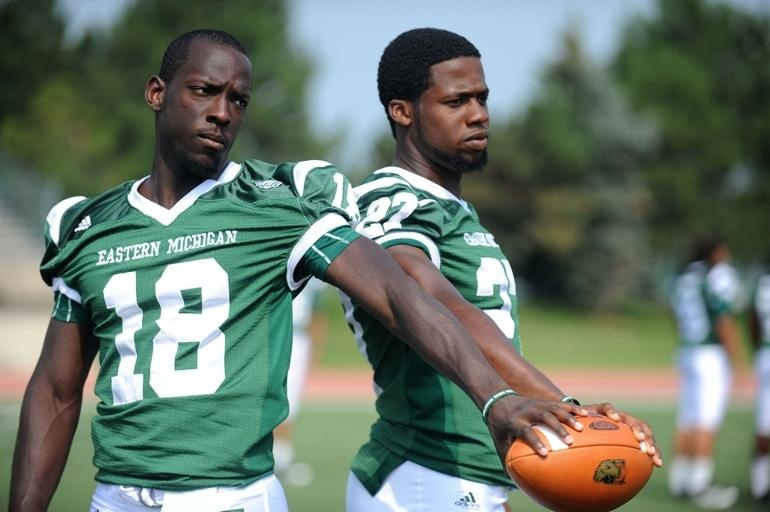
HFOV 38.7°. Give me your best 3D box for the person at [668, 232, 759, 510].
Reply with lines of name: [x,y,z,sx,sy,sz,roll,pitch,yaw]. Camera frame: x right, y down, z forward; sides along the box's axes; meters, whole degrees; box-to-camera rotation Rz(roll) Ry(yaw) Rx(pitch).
person: [3.208,1.161,11.009,0.706,2.624,0.759,3,5,40]

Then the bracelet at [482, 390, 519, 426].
bracelet: [0.710,0.942,6.895,0.216,0.196,0.082,-27,43,-25]

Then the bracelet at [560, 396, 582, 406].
bracelet: [1.197,0.920,7.004,0.095,0.040,0.071,20,-2,9]
